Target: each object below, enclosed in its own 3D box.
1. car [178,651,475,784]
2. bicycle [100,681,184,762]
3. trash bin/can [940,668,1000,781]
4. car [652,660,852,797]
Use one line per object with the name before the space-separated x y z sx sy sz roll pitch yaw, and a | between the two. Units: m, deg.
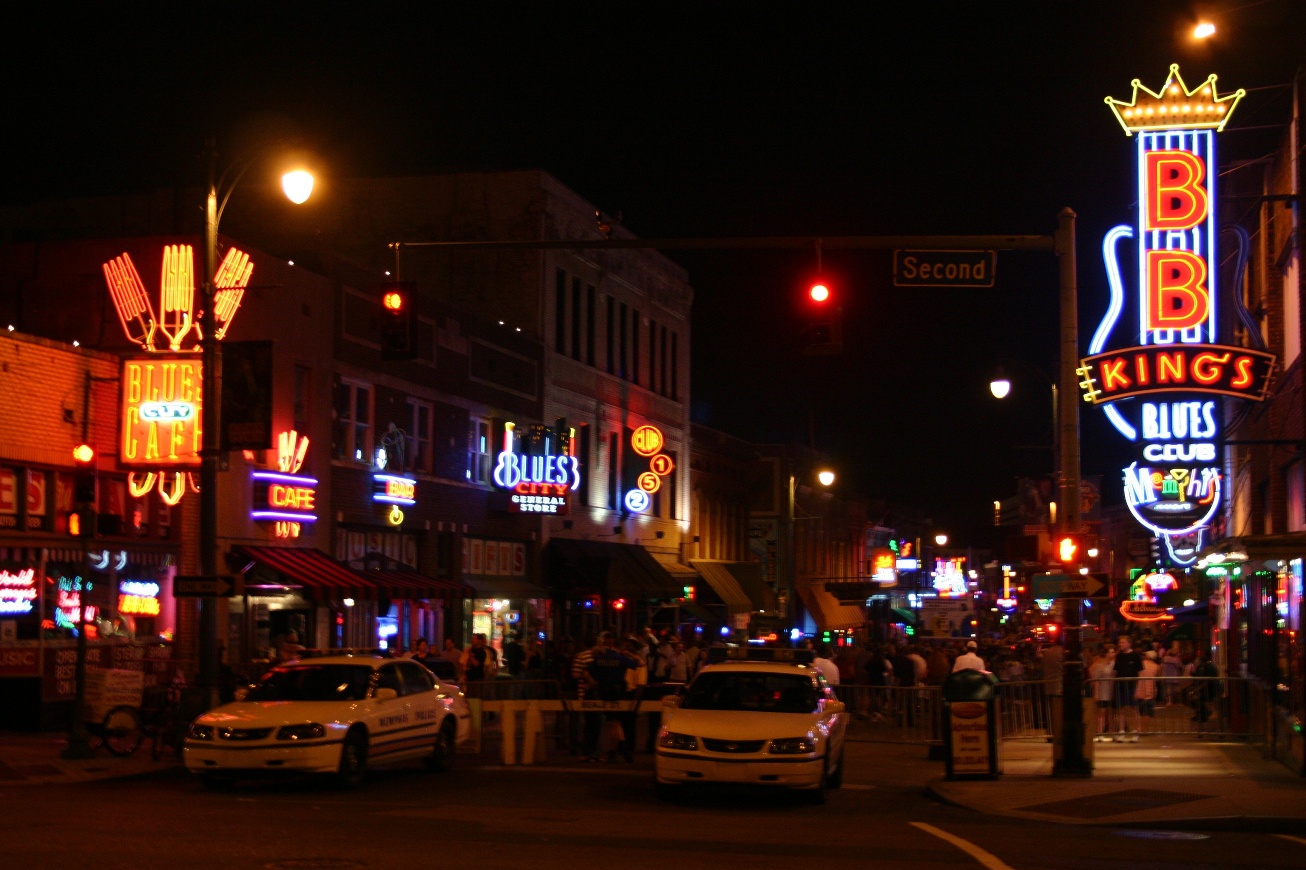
car | -5.753 5.098 31.040 2.041 2.369 4.724 -7 -14 34
bicycle | -10.319 5.734 34.584 1.623 1.470 2.411 5 -13 -17
trash bin/can | 5.891 5.327 31.745 0.945 1.994 0.560 0 -12 8
car | 1.761 4.876 29.071 3.355 2.327 2.325 10 -15 -35
